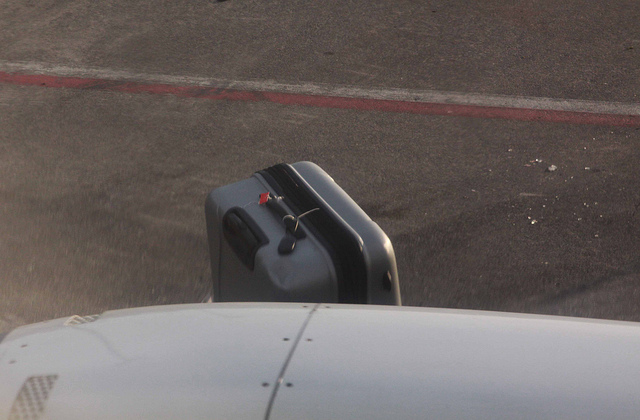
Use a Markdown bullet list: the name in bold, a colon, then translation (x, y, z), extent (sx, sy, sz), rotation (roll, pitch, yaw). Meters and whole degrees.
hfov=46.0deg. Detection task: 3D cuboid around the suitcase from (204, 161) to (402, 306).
- **suitcase**: translation (-0.143, 0.316, 4.709), extent (0.837, 0.947, 1.038), rotation (-21, 45, -20)
